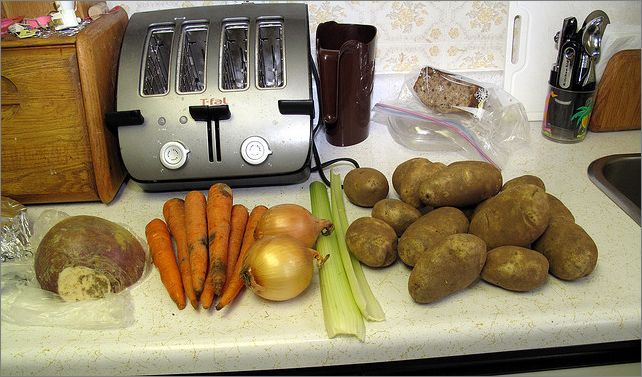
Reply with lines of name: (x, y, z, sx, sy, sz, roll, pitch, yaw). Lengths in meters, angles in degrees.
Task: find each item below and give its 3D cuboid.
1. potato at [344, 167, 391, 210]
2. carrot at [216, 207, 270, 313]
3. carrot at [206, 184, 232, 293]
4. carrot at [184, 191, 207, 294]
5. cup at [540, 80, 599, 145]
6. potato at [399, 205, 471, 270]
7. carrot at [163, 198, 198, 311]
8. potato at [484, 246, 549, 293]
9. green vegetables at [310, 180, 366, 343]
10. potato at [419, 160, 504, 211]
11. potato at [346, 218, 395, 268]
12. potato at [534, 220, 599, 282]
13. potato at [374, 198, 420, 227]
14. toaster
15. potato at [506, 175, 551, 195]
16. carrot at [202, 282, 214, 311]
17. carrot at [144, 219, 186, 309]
potato: (0.141, -0.008, 1.275, 0.157, 0.102, 0.186, -2, -11, 17)
carrot: (-0.185, 0.179, 1.135, 0.062, 0.059, 0.304, 33, 46, -22)
carrot: (-0.249, 0.123, 1.135, 0.067, 0.056, 0.282, -6, 54, 9)
carrot: (-0.313, 0.125, 1.100, 0.060, 0.055, 0.283, -7, 52, -1)
cup: (0.826, -0.274, 1.442, 0.143, 0.219, 0.136, -5, 28, 3)
potato: (0.338, 0.108, 1.148, 0.112, 0.102, 0.205, -10, -5, 22)
carrot: (-0.375, 0.138, 1.133, 0.082, 0.078, 0.335, 20, 41, -45)
potato: (0.465, 0.186, 1.047, 0.162, 0.088, 0.116, 0, 35, 30)
green vegetables: (0.028, 0.154, 1.082, 0.089, 0.048, 0.362, -11, 54, 0)
potato: (0.360, -0.015, 1.154, 0.203, 0.089, 0.103, -14, 1, -18)
potato: (0.121, 0.133, 1.119, 0.105, 0.064, 0.123, 1, 52, -14)
potato: (0.604, 0.140, 1.094, 0.115, 0.085, 0.152, -9, 42, 9)
potato: (0.196, 0.065, 1.125, 0.105, 0.055, 0.064, 18, 9, 23)
toaster: (-0.304, -0.245, 1.440, 0.548, 0.360, 0.575, -1, 61, -1)
potato: (0.541, -0.002, 1.135, 0.065, 0.039, 0.079, -14, -11, 0)
carrot: (-0.263, 0.249, 1.017, 0.019, 0.018, 0.060, 8, 50, -5)
carrot: (-0.403, 0.179, 1.105, 0.071, 0.069, 0.289, 18, 17, -40)
